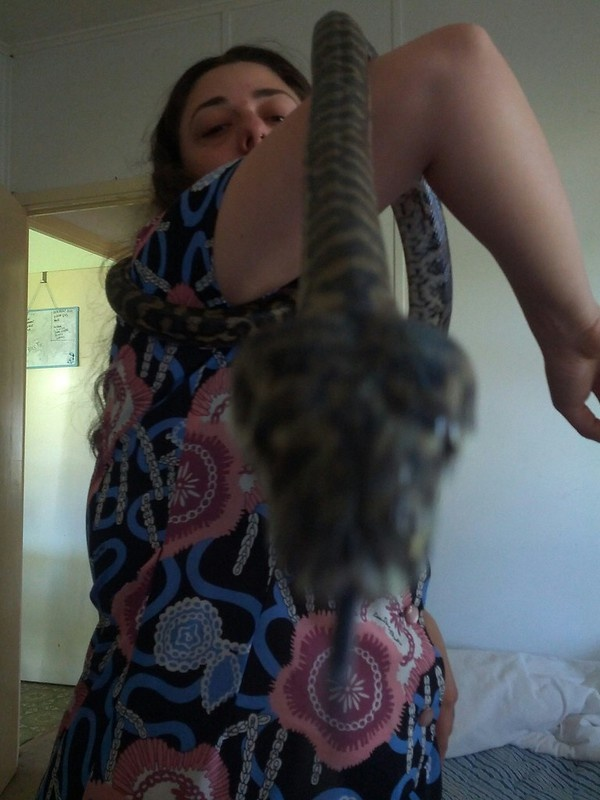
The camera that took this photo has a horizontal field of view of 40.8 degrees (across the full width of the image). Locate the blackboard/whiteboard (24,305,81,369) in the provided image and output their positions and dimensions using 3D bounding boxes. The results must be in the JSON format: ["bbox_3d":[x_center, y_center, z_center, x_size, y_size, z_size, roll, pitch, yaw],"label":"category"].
[{"bbox_3d":[-1.161,-0.293,3.728,0.024,0.279,0.299,11,13,31],"label":"blackboard/whiteboard"}]
